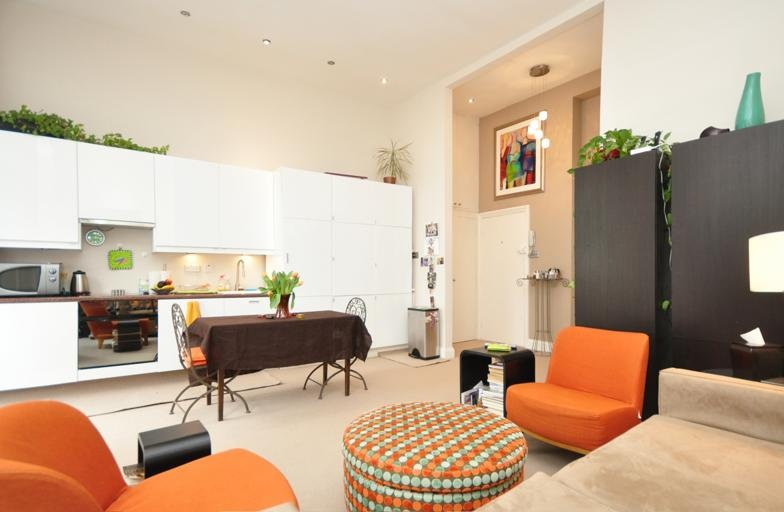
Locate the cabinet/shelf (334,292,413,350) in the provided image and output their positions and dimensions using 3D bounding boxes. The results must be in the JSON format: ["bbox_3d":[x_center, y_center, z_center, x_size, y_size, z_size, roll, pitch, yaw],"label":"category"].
[{"bbox_3d":[-0.360,1.132,8.394,1.275,0.935,0.445,-1,-6,-14],"label":"cabinet/shelf"}]

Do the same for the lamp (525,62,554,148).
[{"bbox_3d":[2.353,-2.366,7.983,0.392,1.303,1.657,3,8,15],"label":"lamp"}]

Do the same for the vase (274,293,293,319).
[{"bbox_3d":[-1.352,0.638,6.209,0.267,0.317,0.259,2,-7,-16],"label":"vase"}]

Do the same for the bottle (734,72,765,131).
[{"bbox_3d":[3.495,-1.517,4.904,0.234,0.602,0.233,-19,41,17],"label":"bottle"}]

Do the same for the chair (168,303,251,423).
[{"bbox_3d":[-2.242,1.266,6.205,0.895,1.394,0.947,-4,-5,40],"label":"chair"}]

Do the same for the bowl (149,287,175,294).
[{"bbox_3d":[-3.112,0.479,6.848,0.258,0.089,0.205,-3,8,-26],"label":"bowl"}]

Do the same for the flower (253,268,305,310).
[{"bbox_3d":[-1.349,0.479,6.195,0.500,0.563,0.559,0,6,-11],"label":"flower"}]

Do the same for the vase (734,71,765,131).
[{"bbox_3d":[3.466,-1.504,4.855,0.217,0.585,0.470,6,9,33],"label":"vase"}]

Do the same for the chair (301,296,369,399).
[{"bbox_3d":[-0.814,1.302,7.038,0.831,1.240,0.725,-3,2,-23],"label":"chair"}]

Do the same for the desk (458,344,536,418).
[{"bbox_3d":[1.073,1.272,5.604,0.656,0.834,0.864,2,-6,-34],"label":"desk"}]

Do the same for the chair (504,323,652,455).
[{"bbox_3d":[1.833,1.301,5.000,1.109,1.056,1.053,0,1,-39],"label":"chair"}]

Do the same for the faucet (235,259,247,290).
[{"bbox_3d":[-2.330,0.281,7.683,0.135,0.461,0.212,0,8,-3],"label":"faucet"}]

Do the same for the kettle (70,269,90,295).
[{"bbox_3d":[-4.044,0.371,6.508,0.295,0.392,0.243,0,1,-12],"label":"kettle"}]

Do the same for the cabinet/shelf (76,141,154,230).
[{"bbox_3d":[-3.977,-1.172,7.165,0.990,1.769,1.505,0,0,-29],"label":"cabinet/shelf"}]

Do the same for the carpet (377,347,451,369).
[{"bbox_3d":[0.286,1.645,8.008,1.086,0.078,0.796,7,10,43],"label":"carpet"}]

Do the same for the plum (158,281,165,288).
[{"bbox_3d":[-3.146,0.397,6.874,0.063,0.065,0.083,18,20,0],"label":"plum"}]

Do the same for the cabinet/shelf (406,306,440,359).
[{"bbox_3d":[0.536,1.279,8.308,0.454,0.805,0.474,-8,11,-37],"label":"cabinet/shelf"}]

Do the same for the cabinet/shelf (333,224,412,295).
[{"bbox_3d":[-0.429,0.085,8.449,1.580,1.313,0.564,1,-1,-39],"label":"cabinet/shelf"}]

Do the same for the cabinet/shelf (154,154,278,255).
[{"bbox_3d":[-2.559,-0.686,7.162,1.520,1.286,0.496,1,3,-33],"label":"cabinet/shelf"}]

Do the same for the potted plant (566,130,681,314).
[{"bbox_3d":[2.611,-0.375,5.579,1.065,1.882,1.199,-9,-16,26],"label":"potted plant"}]

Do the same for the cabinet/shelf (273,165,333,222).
[{"bbox_3d":[-1.333,-0.928,7.789,0.898,0.779,0.297,-3,8,-34],"label":"cabinet/shelf"}]

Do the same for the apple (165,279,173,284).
[{"bbox_3d":[-3.096,0.370,6.974,0.068,0.067,0.061,11,2,-45],"label":"apple"}]

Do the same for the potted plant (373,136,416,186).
[{"bbox_3d":[-0.006,-1.611,9.098,0.536,0.751,0.758,9,-1,-2],"label":"potted plant"}]

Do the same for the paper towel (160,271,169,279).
[{"bbox_3d":[-3.183,0.277,7.035,0.100,0.107,0.105,-2,-4,22],"label":"paper towel"}]
